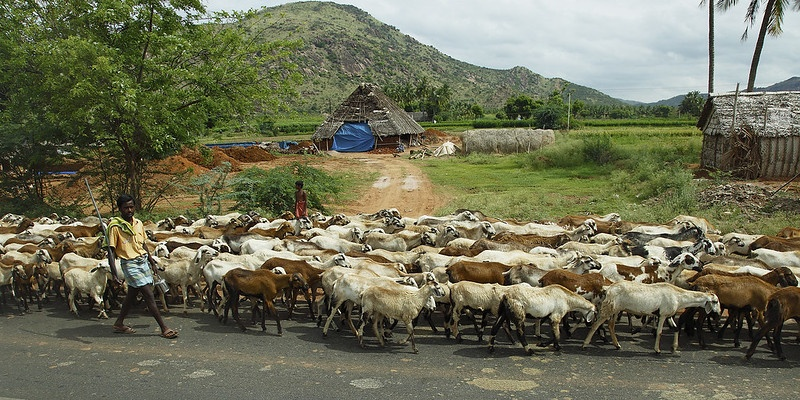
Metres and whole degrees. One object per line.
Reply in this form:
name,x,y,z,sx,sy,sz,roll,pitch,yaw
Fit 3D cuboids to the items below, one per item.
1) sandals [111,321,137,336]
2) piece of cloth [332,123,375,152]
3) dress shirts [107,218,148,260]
sandals,-9.820,4.614,19.753,0.808,0.231,0.336,2,13,-7
piece of cloth,-4.812,-6.540,58.648,4.075,2.044,3.440,-1,16,-3
dress shirts,-9.587,1.372,19.510,1.239,1.433,0.376,0,0,-26
